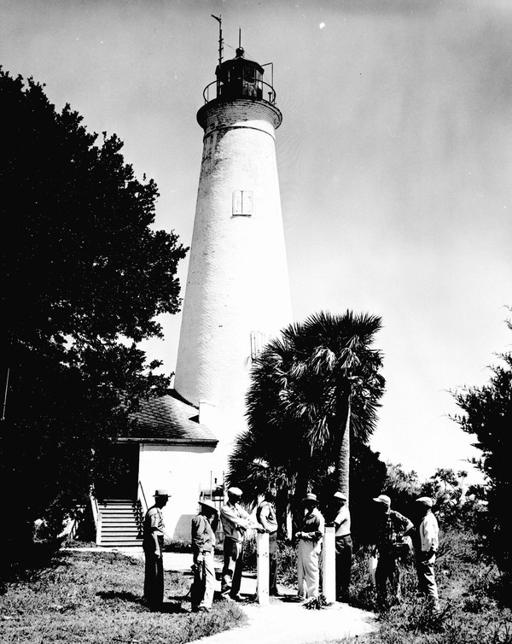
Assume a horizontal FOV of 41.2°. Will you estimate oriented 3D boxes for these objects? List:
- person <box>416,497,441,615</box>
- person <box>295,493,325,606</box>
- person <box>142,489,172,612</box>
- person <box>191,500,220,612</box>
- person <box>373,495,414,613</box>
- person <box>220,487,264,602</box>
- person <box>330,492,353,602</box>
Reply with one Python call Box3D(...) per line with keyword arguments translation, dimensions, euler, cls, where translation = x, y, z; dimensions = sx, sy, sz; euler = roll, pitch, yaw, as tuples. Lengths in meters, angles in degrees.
Box3D(translation=(2.565, 3.462, 10.163), dimensions=(0.312, 1.624, 0.485), euler=(-1, -4, 13), cls="person")
Box3D(translation=(0.861, 3.712, 11.054), dimensions=(0.479, 1.790, 0.541), euler=(-2, -4, 21), cls="person")
Box3D(translation=(-1.525, 3.484, 10.330), dimensions=(0.375, 1.766, 0.920), euler=(1, -4, -10), cls="person")
Box3D(translation=(-0.783, 3.526, 10.136), dimensions=(0.359, 1.572, 0.664), euler=(0, -4, -6), cls="person")
Box3D(translation=(2.166, 3.648, 10.759), dimensions=(0.544, 1.704, 0.905), euler=(-1, -4, 13), cls="person")
Box3D(translation=(-0.298, 3.712, 11.318), dimensions=(0.575, 1.931, 1.123), euler=(0, -4, -1), cls="person")
Box3D(translation=(1.508, 3.934, 11.917), dimensions=(0.332, 1.681, 1.068), euler=(0, -5, 7), cls="person")
